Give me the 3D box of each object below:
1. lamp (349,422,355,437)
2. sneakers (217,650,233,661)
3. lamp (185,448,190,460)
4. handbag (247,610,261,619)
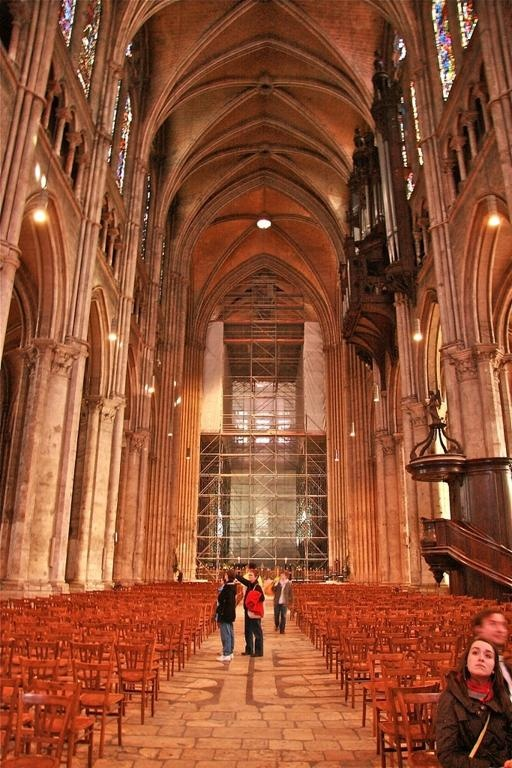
[{"bbox_3d":[5.982,2.815,33.499,0.178,0.959,0.609,4,-18,-13],"label":"lamp"},{"bbox_3d":[-0.520,4.454,8.831,0.282,0.124,0.099,-7,-22,24],"label":"sneakers"},{"bbox_3d":[-4.647,4.746,37.240,0.114,0.754,0.403,-15,-23,39],"label":"lamp"},{"bbox_3d":[-0.026,3.874,9.073,0.230,0.158,0.401,0,-18,1],"label":"handbag"}]
